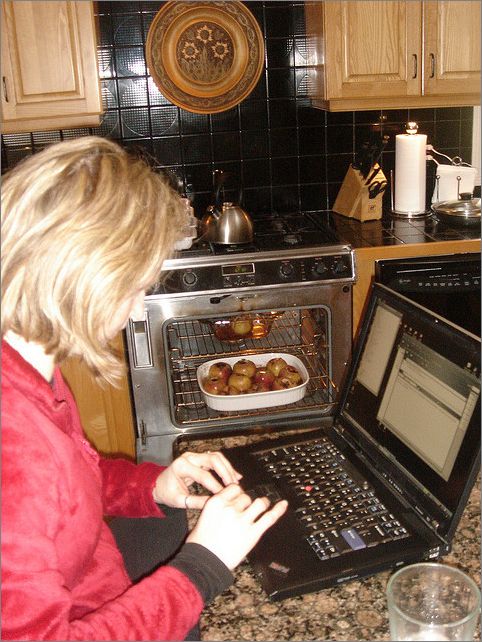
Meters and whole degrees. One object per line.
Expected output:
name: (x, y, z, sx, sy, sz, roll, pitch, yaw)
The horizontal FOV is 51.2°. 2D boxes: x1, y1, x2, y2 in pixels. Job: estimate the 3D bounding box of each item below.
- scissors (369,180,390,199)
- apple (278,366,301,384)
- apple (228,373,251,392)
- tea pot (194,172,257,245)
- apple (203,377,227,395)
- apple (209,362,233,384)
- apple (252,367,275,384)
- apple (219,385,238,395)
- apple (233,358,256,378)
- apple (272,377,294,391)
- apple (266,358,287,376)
scissors: (0.593, -0.573, 2.176, 0.100, 0.028, 0.102, -1, 60, 18)
apple: (0.163, 0.172, 1.667, 0.053, 0.057, 0.054, 0, 8, -9)
apple: (-0.005, 0.195, 1.654, 0.053, 0.056, 0.054, -1, 9, -4)
tea pot: (-0.061, -0.426, 1.890, 0.189, 0.256, 0.242, 11, 19, 29)
apple: (-0.085, 0.215, 1.646, 0.050, 0.053, 0.053, -1, 24, -3)
apple: (-0.069, 0.171, 1.718, 0.062, 0.063, 0.063, 2, 16, -4)
apple: (0.084, 0.180, 1.717, 0.049, 0.050, 0.050, 1, 16, 0)
apple: (-0.037, 0.226, 1.625, 0.033, 0.038, 0.031, -7, 15, -31)
apple: (0.012, 0.160, 1.721, 0.059, 0.062, 0.060, -2, 18, -4)
apple: (0.134, 0.204, 1.628, 0.043, 0.045, 0.044, -1, 13, -4)
apple: (0.127, 0.152, 1.734, 0.056, 0.058, 0.057, 1, 10, 0)
